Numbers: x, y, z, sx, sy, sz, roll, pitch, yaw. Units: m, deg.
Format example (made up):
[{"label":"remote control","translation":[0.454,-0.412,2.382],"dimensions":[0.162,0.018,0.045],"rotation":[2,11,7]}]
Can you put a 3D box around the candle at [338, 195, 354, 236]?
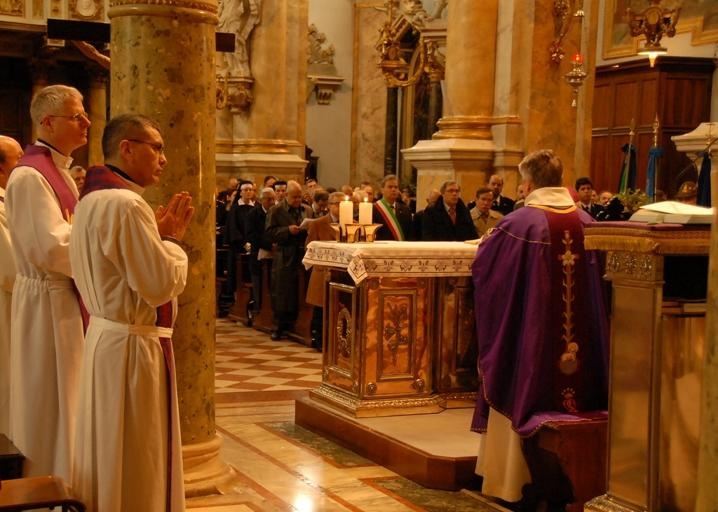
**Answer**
[{"label":"candle","translation":[-0.107,-0.304,6.450],"dimensions":[0.113,0.295,0.250],"rotation":[-7,6,-1]}]

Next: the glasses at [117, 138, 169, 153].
[{"label":"glasses","translation":[-1.048,-0.530,4.031],"dimensions":[0.176,0.050,0.170],"rotation":[8,0,-8]}]

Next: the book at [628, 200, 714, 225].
[{"label":"book","translation":[1.568,-0.210,4.260],"dimensions":[0.390,0.114,0.345],"rotation":[-5,6,18]}]

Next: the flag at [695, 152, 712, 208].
[{"label":"flag","translation":[5.331,-1.198,13.054],"dimensions":[0.208,0.814,1.577],"rotation":[-4,6,22]}]

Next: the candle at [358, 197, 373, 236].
[{"label":"candle","translation":[0.041,-0.299,6.463],"dimensions":[0.103,0.287,0.252],"rotation":[-7,6,0]}]
